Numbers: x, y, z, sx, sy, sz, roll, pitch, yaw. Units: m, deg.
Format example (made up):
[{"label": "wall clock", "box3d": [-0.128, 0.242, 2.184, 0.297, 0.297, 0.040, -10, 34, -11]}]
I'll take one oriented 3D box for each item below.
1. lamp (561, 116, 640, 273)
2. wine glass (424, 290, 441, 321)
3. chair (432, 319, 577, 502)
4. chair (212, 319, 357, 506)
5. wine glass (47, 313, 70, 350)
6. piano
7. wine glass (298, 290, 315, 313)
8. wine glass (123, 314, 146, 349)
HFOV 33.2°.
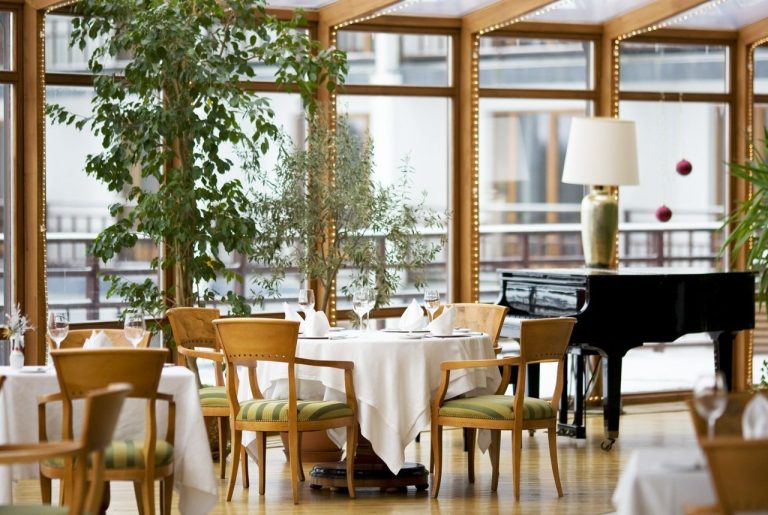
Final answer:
[{"label": "lamp", "box3d": [1.928, -0.564, 11.433, 0.649, 1.333, 0.383, 3, 8, 9]}, {"label": "wine glass", "box3d": [0.399, 0.372, 10.451, 0.117, 0.253, 0.329, 1, 9, 1]}, {"label": "chair", "box3d": [0.940, 1.149, 10.124, 0.975, 1.498, 1.091, 2, 1, -30]}, {"label": "chair", "box3d": [-0.734, 1.137, 9.832, 1.091, 1.430, 0.694, 1, 8, -1]}, {"label": "wine glass", "box3d": [-2.326, 0.591, 9.228, 0.137, 0.415, 0.147, 0, 9, -17]}, {"label": "piano", "box3d": [2.122, 0.862, 11.670, 1.982, 1.670, 1.599, 1, -1, -24]}, {"label": "wine glass", "box3d": [-0.603, 0.337, 10.240, 0.114, 0.165, 0.234, 0, 9, -6]}, {"label": "wine glass", "box3d": [-1.798, 0.540, 9.339, 0.126, 0.296, 0.360, 0, 9, -10]}]
